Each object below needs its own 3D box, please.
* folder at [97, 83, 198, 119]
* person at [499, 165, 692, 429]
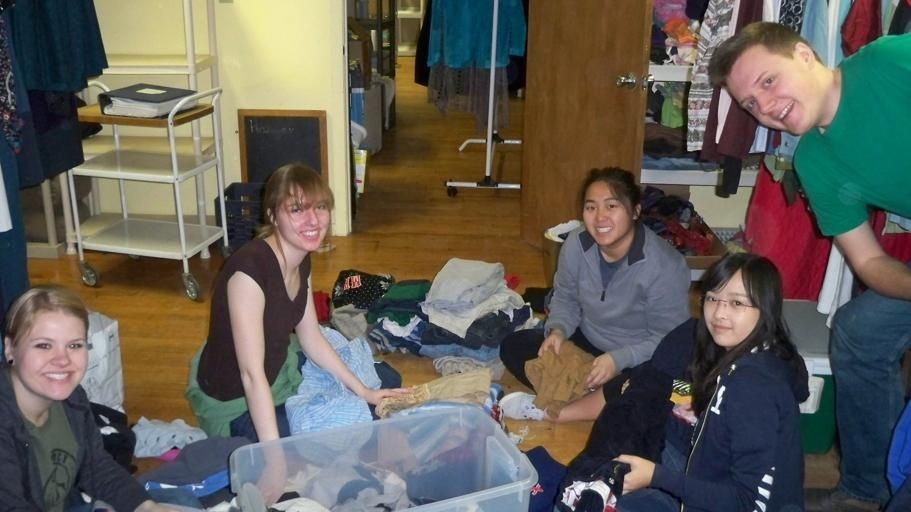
[{"bbox_3d":[-2.101,-1.027,4.410,0.377,0.093,0.380,13,26,25],"label":"folder"},{"bbox_3d":[0.832,0.261,3.858,1.178,1.246,1.025,-22,34,-22],"label":"person"}]
